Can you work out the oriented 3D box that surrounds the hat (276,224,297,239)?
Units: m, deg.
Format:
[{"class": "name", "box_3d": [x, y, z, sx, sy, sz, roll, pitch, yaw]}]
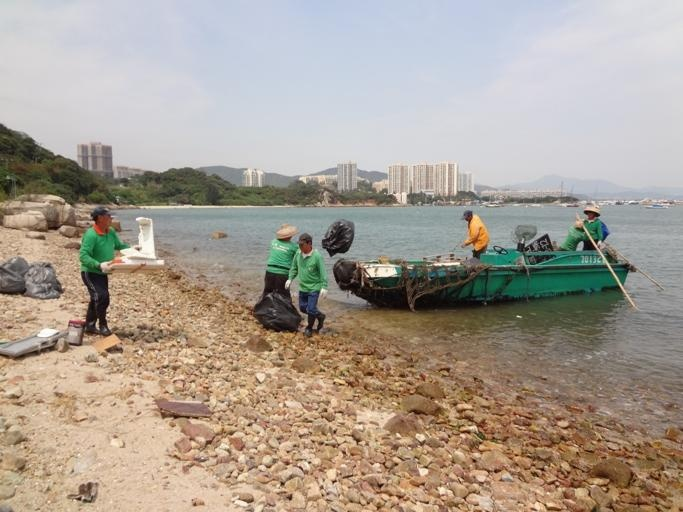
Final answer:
[{"class": "hat", "box_3d": [-1.246, -0.606, 10.754, 0.508, 0.208, 0.447, -5, 16, 21]}]

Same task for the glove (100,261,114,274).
[{"class": "glove", "box_3d": [-4.053, 0.211, 7.722, 0.197, 0.238, 0.329, -3, 12, -27]}]

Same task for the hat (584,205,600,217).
[{"class": "hat", "box_3d": [8.517, -1.571, 15.236, 0.482, 0.217, 0.525, 14, -15, 11]}]

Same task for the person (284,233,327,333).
[{"class": "person", "box_3d": [-0.832, 0.715, 10.647, 0.903, 2.539, 1.146, 2, 12, -3]}]

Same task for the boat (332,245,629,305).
[{"class": "boat", "box_3d": [4.701, 0.826, 15.321, 10.293, 1.851, 2.929, 1, -6, -19]}]

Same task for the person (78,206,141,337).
[{"class": "person", "box_3d": [-4.245, 0.284, 7.992, 0.723, 2.320, 0.921, -3, 13, -24]}]
